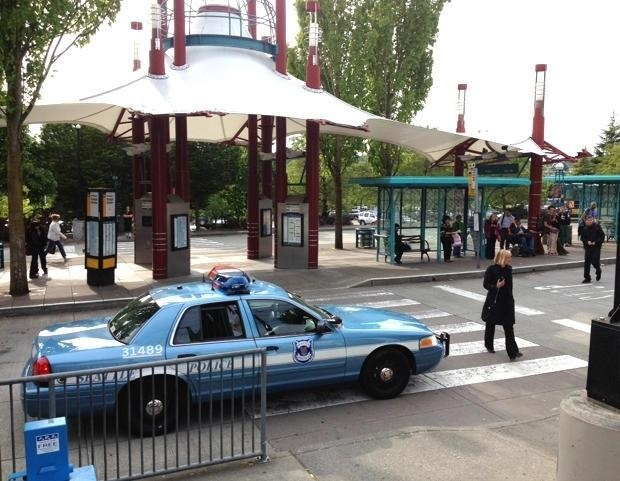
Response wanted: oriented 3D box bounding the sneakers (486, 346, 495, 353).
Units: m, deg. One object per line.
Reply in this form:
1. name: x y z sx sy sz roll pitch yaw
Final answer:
1. sneakers: 3.525 2.134 11.479 0.079 0.098 0.221 -1 0 -21

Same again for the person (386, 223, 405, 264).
1. person: 3.312 0.112 21.801 0.375 1.525 0.641 -2 2 9

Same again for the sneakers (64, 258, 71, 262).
1. sneakers: -9.192 0.729 22.174 0.274 0.207 0.097 -4 13 -10

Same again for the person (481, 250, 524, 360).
1. person: 3.599 1.218 11.073 0.698 2.066 0.354 -1 2 20

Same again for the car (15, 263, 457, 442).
1. car: -1.138 1.526 8.794 5.740 2.175 2.375 -3 2 -28

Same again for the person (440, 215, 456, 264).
1. person: 5.326 -0.092 22.581 0.490 1.769 0.488 -2 2 1

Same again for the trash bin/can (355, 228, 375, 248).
1. trash bin/can: 2.834 -0.113 29.552 0.973 1.051 0.949 0 0 -8
